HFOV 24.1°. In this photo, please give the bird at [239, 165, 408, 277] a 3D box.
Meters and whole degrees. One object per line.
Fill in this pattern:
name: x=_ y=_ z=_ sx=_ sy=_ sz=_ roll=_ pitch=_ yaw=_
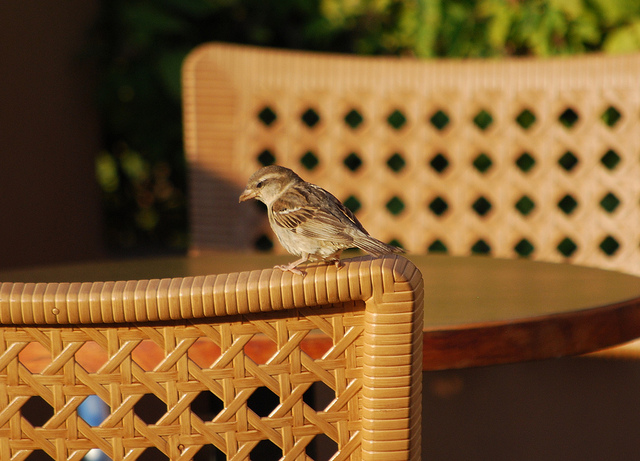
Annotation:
bird: x=-0.015 y=-0.040 z=9.881 sx=0.991 sy=0.777 sz=0.404 roll=-1 pitch=-5 yaw=17
